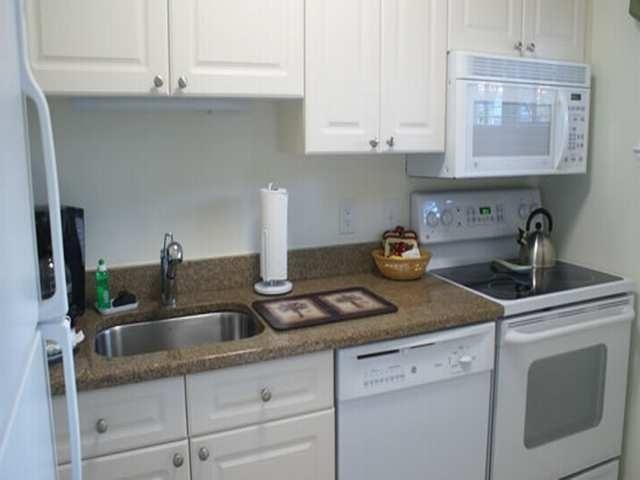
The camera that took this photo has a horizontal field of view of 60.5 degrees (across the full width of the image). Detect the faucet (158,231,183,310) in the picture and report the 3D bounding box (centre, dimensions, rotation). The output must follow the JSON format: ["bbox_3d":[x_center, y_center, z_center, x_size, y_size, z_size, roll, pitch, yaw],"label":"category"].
[{"bbox_3d":[-0.592,0.103,2.160,0.098,0.279,0.179,-7,13,-16],"label":"faucet"}]

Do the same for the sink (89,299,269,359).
[{"bbox_3d":[-0.628,0.249,2.353,0.614,0.179,0.674,-1,16,-22],"label":"sink"}]

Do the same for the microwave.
[{"bbox_3d":[0.809,-0.524,2.458,0.798,0.570,0.498,-2,6,-24],"label":"microwave"}]
